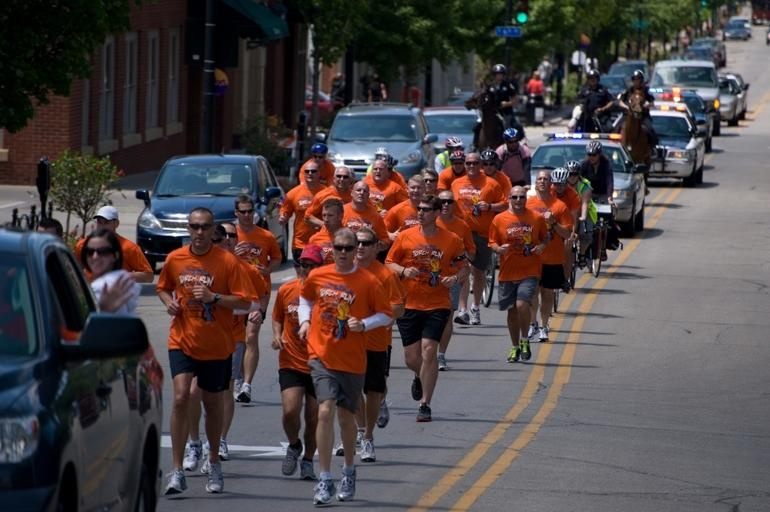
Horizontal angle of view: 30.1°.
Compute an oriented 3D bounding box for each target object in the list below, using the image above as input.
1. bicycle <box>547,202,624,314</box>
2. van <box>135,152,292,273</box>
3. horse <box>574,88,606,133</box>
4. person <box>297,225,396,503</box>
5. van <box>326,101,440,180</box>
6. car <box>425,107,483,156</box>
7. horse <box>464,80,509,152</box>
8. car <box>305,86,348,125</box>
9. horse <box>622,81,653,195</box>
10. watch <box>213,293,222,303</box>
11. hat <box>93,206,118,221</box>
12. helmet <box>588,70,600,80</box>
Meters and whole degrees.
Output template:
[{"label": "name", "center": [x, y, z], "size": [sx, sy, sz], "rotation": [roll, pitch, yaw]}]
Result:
[{"label": "bicycle", "center": [3.308, -0.196, 25.460], "size": [1.066, 1.436, 2.234], "rotation": [7, 9, 24]}, {"label": "van", "center": [-3.116, -0.819, 25.377], "size": [1.725, 1.303, 2.889], "rotation": [0, 3, 3]}, {"label": "horse", "center": [5.033, -3.577, 34.939], "size": [0.574, 1.231, 1.403], "rotation": [1, 8, 15]}, {"label": "person", "center": [-0.395, 1.127, 14.961], "size": [0.968, 2.749, 0.982], "rotation": [0, 10, -10]}, {"label": "van", "center": [-0.067, -2.690, 33.004], "size": [1.567, 1.400, 2.601], "rotation": [0, 4, 6]}, {"label": "car", "center": [1.751, -3.220, 36.603], "size": [0.947, 0.859, 1.717], "rotation": [-1, 6, -5]}, {"label": "horse", "center": [2.301, -3.327, 31.119], "size": [0.588, 1.567, 2.142], "rotation": [8, 23, 22]}, {"label": "car", "center": [-2.215, -5.094, 49.696], "size": [2.187, 1.203, 1.384], "rotation": [1, 12, 5]}, {"label": "horse", "center": [5.945, -2.864, 34.193], "size": [0.725, 2.516, 3.441], "rotation": [1, 0, 8]}, {"label": "watch", "center": [-1.788, 0.448, 15.139], "size": [0.090, 0.087, 0.061], "rotation": [-5, 44, -38]}, {"label": "hat", "center": [-3.290, -0.504, 17.098], "size": [0.227, 0.184, 0.338], "rotation": [3, -3, 15]}, {"label": "helmet", "center": [5.037, -4.416, 34.506], "size": [0.197, 0.248, 0.282], "rotation": [4, -33, 25]}]
